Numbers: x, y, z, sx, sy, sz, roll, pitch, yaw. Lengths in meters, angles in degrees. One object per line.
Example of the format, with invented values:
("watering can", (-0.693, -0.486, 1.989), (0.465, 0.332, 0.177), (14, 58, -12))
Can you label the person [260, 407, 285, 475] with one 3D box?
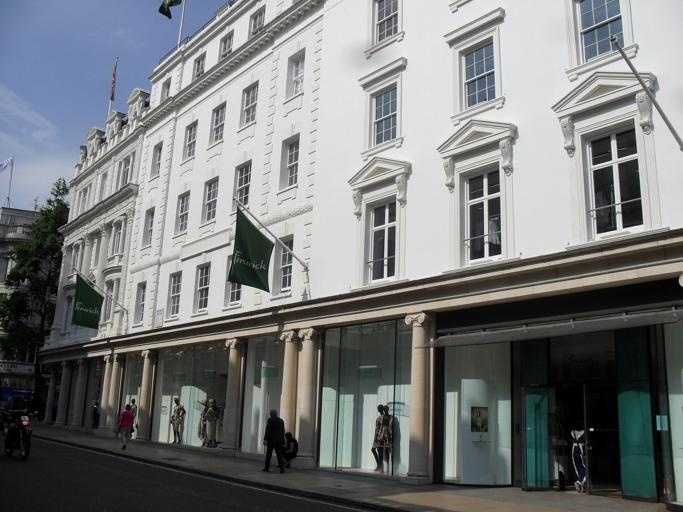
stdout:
("person", (-2.218, 6.302, 19.163), (0.720, 2.020, 1.366), (2, -16, -7))

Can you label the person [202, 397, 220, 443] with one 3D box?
("person", (-5.860, 7.631, 25.607), (0.254, 2.035, 0.896), (13, -20, -41))

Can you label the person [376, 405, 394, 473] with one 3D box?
("person", (1.456, 6.002, 18.349), (0.170, 2.072, 0.679), (13, -20, -42))

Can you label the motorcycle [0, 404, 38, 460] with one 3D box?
("motorcycle", (-9.929, 5.718, 18.084), (1.177, 1.674, 2.476), (8, -24, -31))

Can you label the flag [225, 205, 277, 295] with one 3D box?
("flag", (-3.420, -0.152, 22.222), (2.505, 4.506, 0.364), (25, -35, -37))
